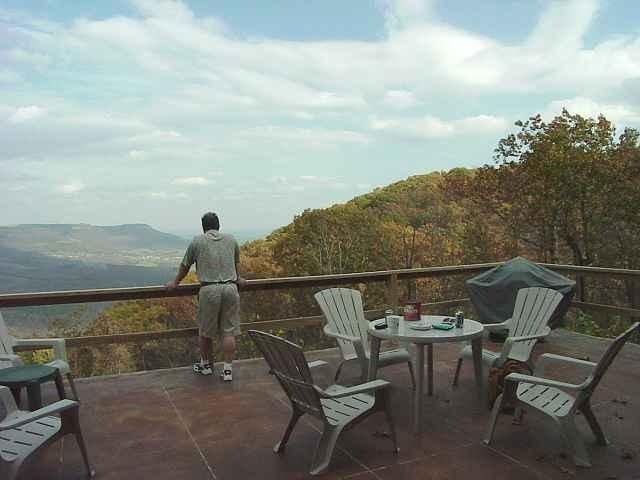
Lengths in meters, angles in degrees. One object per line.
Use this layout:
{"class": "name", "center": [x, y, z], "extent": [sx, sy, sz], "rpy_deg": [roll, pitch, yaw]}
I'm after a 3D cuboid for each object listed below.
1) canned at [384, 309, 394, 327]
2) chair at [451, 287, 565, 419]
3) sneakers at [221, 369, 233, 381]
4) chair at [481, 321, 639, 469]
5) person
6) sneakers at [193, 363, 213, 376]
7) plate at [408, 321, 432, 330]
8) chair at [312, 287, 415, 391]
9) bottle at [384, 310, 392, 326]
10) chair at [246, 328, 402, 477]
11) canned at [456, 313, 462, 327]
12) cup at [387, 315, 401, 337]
{"class": "canned", "center": [0.696, 0.779, 4.326], "extent": [0.114, 0.190, 0.114], "rpy_deg": [-2, 5, -16]}
{"class": "chair", "center": [2.083, 1.010, 4.593], "extent": [1.116, 1.456, 1.053], "rpy_deg": [0, 0, -19]}
{"class": "sneakers", "center": [-1.056, 1.530, 5.022], "extent": [0.113, 0.124, 0.264], "rpy_deg": [-2, 3, -11]}
{"class": "chair", "center": [2.015, 1.165, 3.631], "extent": [1.243, 0.985, 0.832], "rpy_deg": [-4, 4, -40]}
{"class": "person", "center": [-1.269, 0.643, 5.114], "extent": [0.656, 1.918, 0.473], "rpy_deg": [-1, 3, 6]}
{"class": "sneakers", "center": [-1.400, 1.542, 5.235], "extent": [0.176, 0.101, 0.146], "rpy_deg": [0, -8, -1]}
{"class": "plate", "center": [0.972, 0.829, 4.233], "extent": [0.213, 0.031, 0.294], "rpy_deg": [0, 3, 13]}
{"class": "chair", "center": [0.356, 1.056, 4.859], "extent": [0.889, 1.027, 1.161], "rpy_deg": [-3, 7, -35]}
{"class": "bottle", "center": [0.678, 0.780, 4.343], "extent": [0.102, 0.154, 0.103], "rpy_deg": [0, 4, 0]}
{"class": "chair", "center": [-0.039, 1.154, 3.653], "extent": [1.180, 1.118, 0.884], "rpy_deg": [-5, 7, -35]}
{"class": "canned", "center": [1.354, 0.769, 4.242], "extent": [0.068, 0.131, 0.153], "rpy_deg": [0, 3, 21]}
{"class": "cup", "center": [0.705, 0.803, 4.161], "extent": [0.089, 0.126, 0.130], "rpy_deg": [1, 8, -2]}
